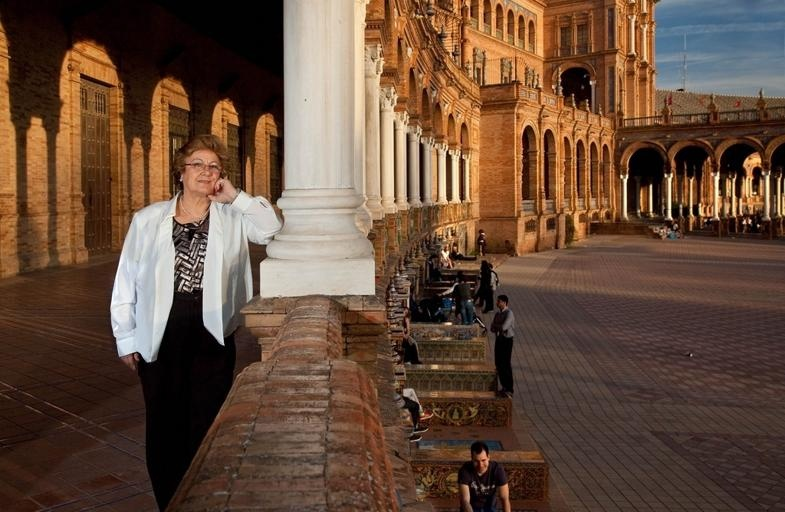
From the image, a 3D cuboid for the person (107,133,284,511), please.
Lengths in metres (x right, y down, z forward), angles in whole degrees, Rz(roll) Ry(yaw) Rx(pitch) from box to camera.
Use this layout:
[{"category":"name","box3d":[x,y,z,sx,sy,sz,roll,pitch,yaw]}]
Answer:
[{"category":"person","box3d":[-1.279,0.413,3.759,0.929,2.380,0.472,3,4,-27]}]
